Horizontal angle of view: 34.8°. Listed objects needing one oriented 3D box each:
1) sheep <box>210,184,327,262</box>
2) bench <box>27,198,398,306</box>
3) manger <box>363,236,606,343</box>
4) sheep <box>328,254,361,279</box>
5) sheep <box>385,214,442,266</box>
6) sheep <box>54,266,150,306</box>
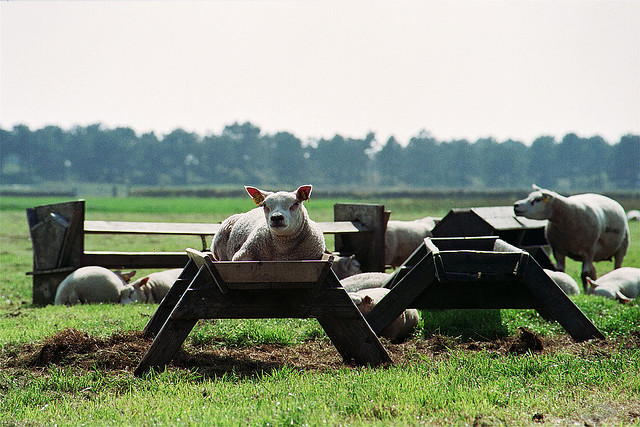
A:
[{"bbox_3d":[-1.367,0.295,28.339,3.302,2.144,1.423,2,1,30],"label":"sheep"},{"bbox_3d":[-5.689,1.577,32.701,5.038,1.883,2.095,-6,-16,12],"label":"bench"},{"bbox_3d":[4.559,2.084,28.403,6.577,2.810,2.061,1,1,3],"label":"manger"},{"bbox_3d":[0.819,1.667,31.773,1.064,0.865,0.538,3,5,36],"label":"sheep"},{"bbox_3d":[3.122,0.860,35.932,2.812,1.588,0.865,-5,-3,-31],"label":"sheep"},{"bbox_3d":[-6.784,2.404,31.910,2.427,1.300,1.342,0,-10,-4],"label":"sheep"}]
